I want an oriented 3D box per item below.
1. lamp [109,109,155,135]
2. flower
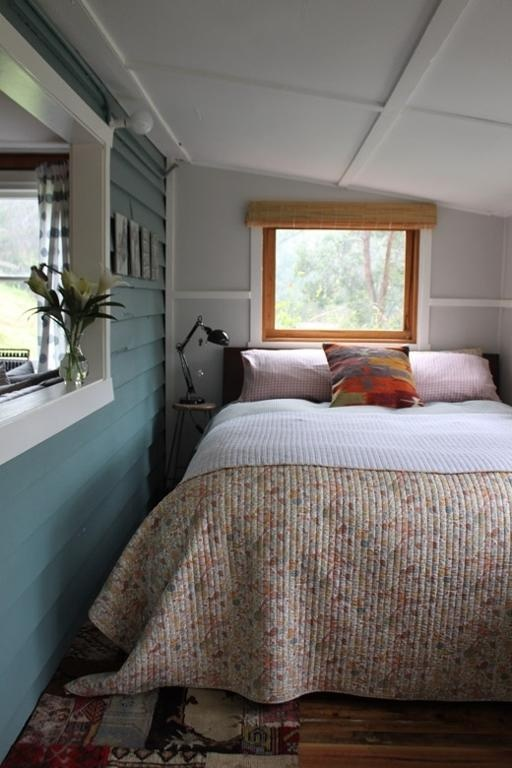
[{"bbox_3d":[-0.480,-1.032,2.217,0.144,0.108,0.167,3,8,10],"label":"lamp"},{"bbox_3d":[-0.593,-0.187,1.870,0.308,0.394,0.295,5,12,0],"label":"flower"}]
